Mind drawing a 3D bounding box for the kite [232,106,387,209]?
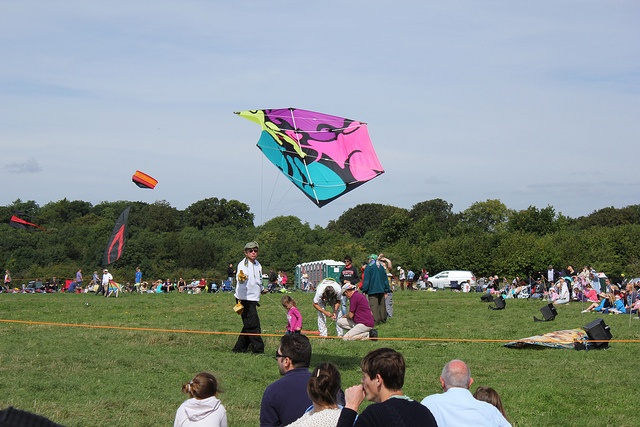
[{"bbox_3d":[-0.170,-1.943,21.321,4.023,3.474,1.030,24,-30,27],"label":"kite"}]

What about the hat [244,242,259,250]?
[{"bbox_3d":[-2.155,1.001,21.234,0.316,0.147,0.419,1,-5,-16],"label":"hat"}]

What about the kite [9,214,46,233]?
[{"bbox_3d":[-30.959,1.134,72.150,3.544,0.576,1.415,21,-2,20],"label":"kite"}]

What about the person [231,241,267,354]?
[{"bbox_3d":[-2.188,2.597,21.347,0.937,3.508,1.226,1,-10,-6],"label":"person"}]

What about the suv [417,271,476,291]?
[{"bbox_3d":[11.624,6.241,61.691,4.599,1.628,2.056,2,-4,13],"label":"suv"}]

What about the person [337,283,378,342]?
[{"bbox_3d":[1.171,3.326,23.224,1.122,1.897,0.704,-5,-11,30],"label":"person"}]

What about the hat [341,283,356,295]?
[{"bbox_3d":[0.926,2.621,23.381,0.363,0.187,0.482,-20,-9,-31],"label":"hat"}]
